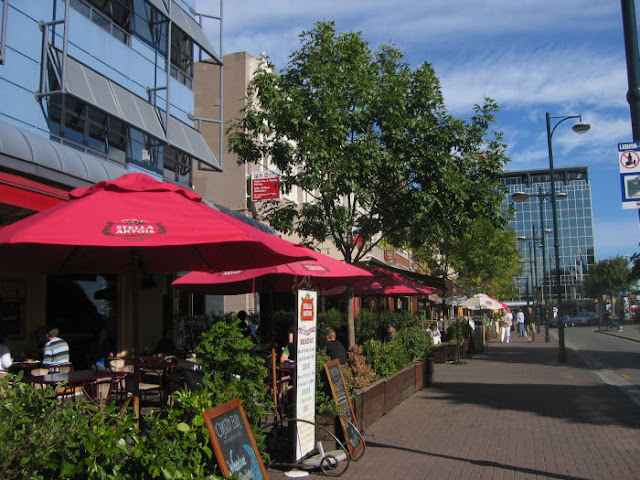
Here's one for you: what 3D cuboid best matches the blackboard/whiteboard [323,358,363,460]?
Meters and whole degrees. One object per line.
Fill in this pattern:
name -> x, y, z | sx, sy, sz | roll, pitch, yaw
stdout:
blackboard/whiteboard -> 0.330, 2.589, 9.198 | 0.092, 1.458, 1.236 | -22, -12, 9

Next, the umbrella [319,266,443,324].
umbrella -> 1.835, 1.457, 16.772 | 2.657, 1.372, 1.966 | 4, -3, 8

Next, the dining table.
dining table -> -3.628, 2.256, 9.876 | 1.894, 0.631, 1.979 | -2, -7, 36
